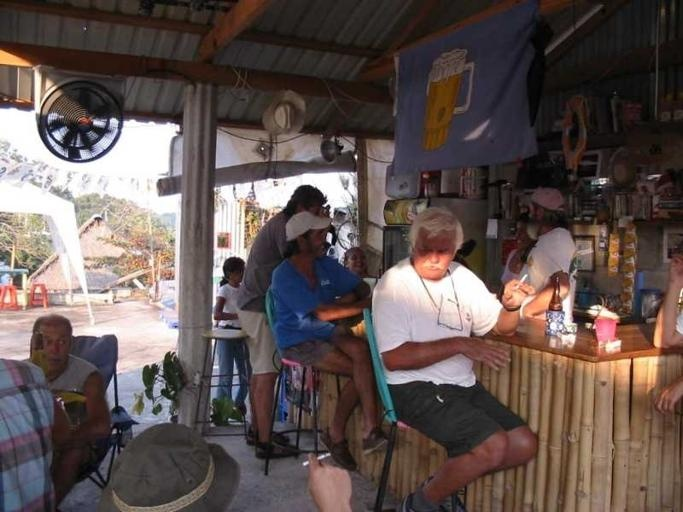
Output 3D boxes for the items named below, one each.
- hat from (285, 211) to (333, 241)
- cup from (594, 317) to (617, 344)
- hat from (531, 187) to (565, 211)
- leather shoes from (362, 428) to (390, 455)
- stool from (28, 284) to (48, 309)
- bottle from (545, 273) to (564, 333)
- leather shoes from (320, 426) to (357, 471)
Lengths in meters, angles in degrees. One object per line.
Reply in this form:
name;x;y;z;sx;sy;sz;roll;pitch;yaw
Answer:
hat;-0.258;-0.235;4.385;0.289;0.158;0.194;-28;9;1
cup;1.561;0.430;3.372;0.109;0.149;0.212;0;2;23
hat;1.824;-0.485;4.968;0.199;0.108;0.292;22;11;31
leather shoes;0.225;1.262;3.893;0.239;0.116;0.091;-33;-19;29
stool;-8.467;1.087;15.974;0.480;0.664;0.955;-2;2;-26
bottle;1.353;0.303;3.603;0.107;0.347;0.386;0;2;21
leather shoes;-0.020;1.477;4.378;0.165;0.395;0.166;-38;4;14
